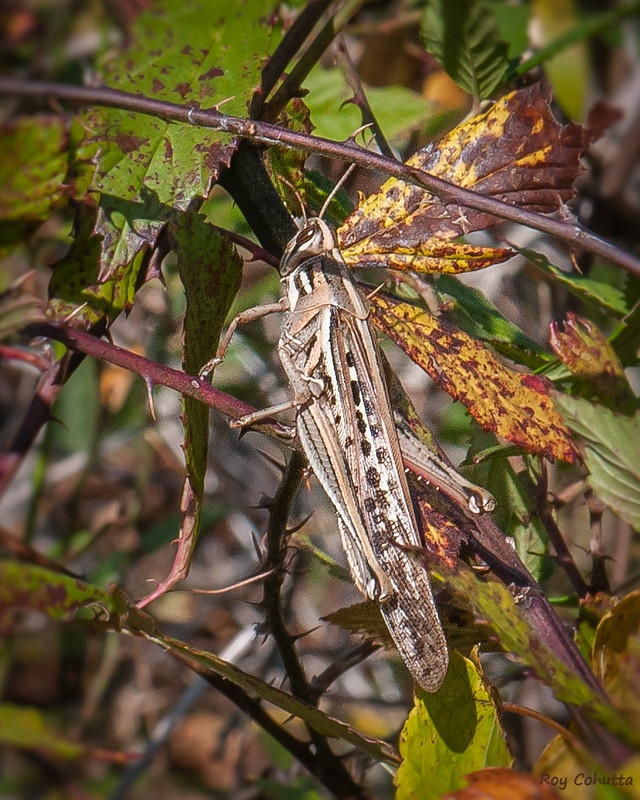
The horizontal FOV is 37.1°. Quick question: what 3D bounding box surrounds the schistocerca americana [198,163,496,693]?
[{"bbox_3d":[0.049,0.039,1.141,0.294,0.266,0.591,-18,105,9],"label":"schistocerca americana"}]
